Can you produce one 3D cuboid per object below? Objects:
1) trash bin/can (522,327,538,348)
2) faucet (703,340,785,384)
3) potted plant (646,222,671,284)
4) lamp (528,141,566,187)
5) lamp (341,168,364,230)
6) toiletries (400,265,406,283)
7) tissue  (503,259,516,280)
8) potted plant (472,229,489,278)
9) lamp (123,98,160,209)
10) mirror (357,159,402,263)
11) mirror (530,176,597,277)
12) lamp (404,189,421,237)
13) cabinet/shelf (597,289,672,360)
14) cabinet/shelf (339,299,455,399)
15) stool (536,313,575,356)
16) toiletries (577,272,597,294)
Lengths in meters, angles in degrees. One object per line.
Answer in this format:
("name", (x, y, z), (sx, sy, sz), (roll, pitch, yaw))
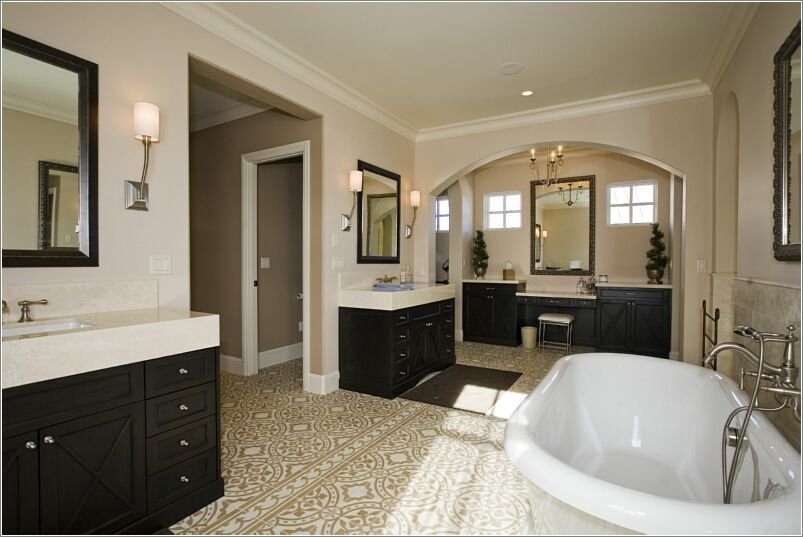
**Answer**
("trash bin/can", (1.816, 0.976, 7.273), (0.264, 0.299, 0.268), (3, -4, -17))
("faucet", (2.251, 0.595, 3.331), (0.565, 0.226, 0.100), (3, 17, 5))
("potted plant", (3.444, -0.201, 6.839), (0.279, 0.778, 0.485), (6, 14, 26))
("lamp", (2.185, -1.532, 7.698), (0.623, 0.832, 0.558), (2, 10, 23))
("lamp", (-0.523, -0.745, 5.704), (0.126, 0.654, 0.466), (5, 14, 24))
("toiletries", (0.028, 0.072, 6.469), (0.080, 0.192, 0.160), (0, 13, 1))
("tissue ", (1.658, 0.036, 7.848), (0.193, 0.243, 0.305), (3, 13, 12))
("potted plant", (1.218, -0.177, 7.932), (0.265, 0.626, 0.245), (1, -6, -10))
("lamp", (-1.986, -0.841, 3.889), (0.292, 0.794, 0.166), (-7, 14, -27))
("mirror", (-0.292, -0.673, 6.119), (0.061, 1.480, 1.273), (0, -1, 24))
("mirror", (2.379, -0.632, 7.559), (0.965, 1.435, 0.431), (3, 13, 15))
("lamp", (0.151, -0.707, 6.791), (0.146, 0.608, 0.385), (4, 13, 19))
("cabinet/shelf", (2.984, 0.679, 6.469), (0.827, 0.984, 0.404), (-2, -5, 35))
("cabinet/shelf", (-0.057, 0.742, 5.811), (0.818, 1.026, 1.641), (-3, -2, 29))
("stool", (2.155, 0.917, 7.149), (0.475, 0.512, 0.408), (1, -1, 21))
("toiletries", (2.664, 0.200, 7.271), (0.269, 0.277, 0.264), (-2, 4, -38))
